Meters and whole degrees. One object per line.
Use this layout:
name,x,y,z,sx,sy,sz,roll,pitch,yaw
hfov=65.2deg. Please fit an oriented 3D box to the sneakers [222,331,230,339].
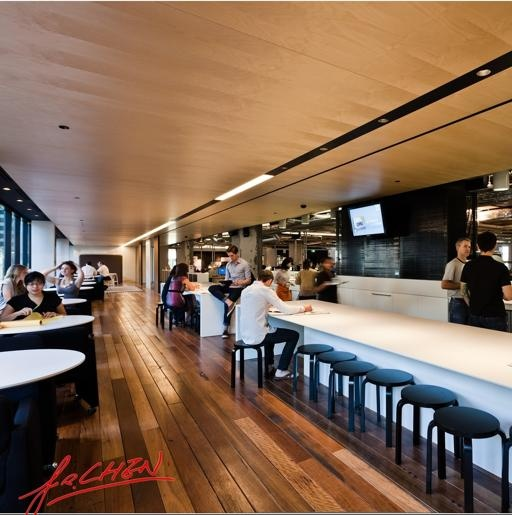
sneakers,-0.466,1.201,6.218,0.108,0.099,0.279,-1,-6,-1

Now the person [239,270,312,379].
person,0.196,0.699,4.274,0.965,0.996,0.746,-3,-3,-13

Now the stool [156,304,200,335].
stool,-1.417,1.132,7.346,0.587,0.338,0.827,4,4,41

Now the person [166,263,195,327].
person,-1.314,0.673,6.968,0.474,1.180,0.815,-4,5,-13

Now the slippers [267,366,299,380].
slippers,0.334,1.205,4.193,0.416,0.131,0.128,-1,3,-19

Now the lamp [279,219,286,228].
lamp,0.735,-0.940,11.147,0.215,0.170,0.353,7,1,0

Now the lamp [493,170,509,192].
lamp,3.122,-0.995,5.147,0.157,0.216,0.180,-1,5,21

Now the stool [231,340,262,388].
stool,-0.113,1.056,4.078,0.450,0.471,0.407,0,0,-7
